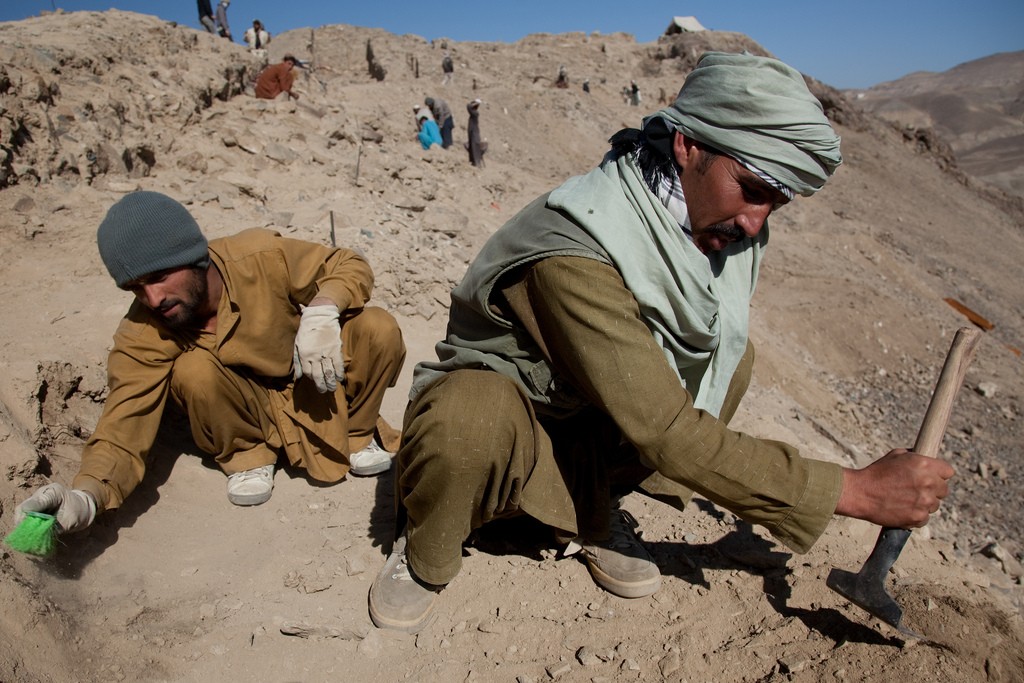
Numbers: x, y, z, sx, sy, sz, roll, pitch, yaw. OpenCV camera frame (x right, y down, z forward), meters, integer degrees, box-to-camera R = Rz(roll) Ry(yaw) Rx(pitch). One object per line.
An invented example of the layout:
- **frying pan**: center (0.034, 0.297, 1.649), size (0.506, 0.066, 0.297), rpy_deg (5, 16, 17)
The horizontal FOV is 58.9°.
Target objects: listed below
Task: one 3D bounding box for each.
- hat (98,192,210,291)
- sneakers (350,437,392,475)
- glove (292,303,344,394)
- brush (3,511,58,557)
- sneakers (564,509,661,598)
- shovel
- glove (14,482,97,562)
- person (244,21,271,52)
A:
- **hat**: center (-1.849, -0.508, 4.763), size (0.477, 0.404, 0.487), rpy_deg (-30, 6, 0)
- **sneakers**: center (-0.773, 0.641, 4.982), size (0.114, 0.132, 0.291), rpy_deg (4, -13, -26)
- **glove**: center (-1.022, 0.042, 4.788), size (0.259, 0.456, 0.134), rpy_deg (-2, -2, 2)
- **brush**: center (-2.262, 0.901, 4.218), size (0.161, 0.159, 0.083), rpy_deg (35, -17, -11)
- **sneakers**: center (0.531, 1.061, 4.517), size (0.229, 0.261, 0.622), rpy_deg (-20, 31, -33)
- **shovel**: center (1.921, 0.739, 4.347), size (0.518, 1.646, 0.147), rpy_deg (25, 9, 24)
- **glove**: center (-2.188, 0.837, 4.327), size (0.253, 0.197, 0.399), rpy_deg (20, 42, 14)
- **person**: center (-3.475, -4.109, 12.200), size (0.301, 0.392, 0.749), rpy_deg (-4, 35, -15)
